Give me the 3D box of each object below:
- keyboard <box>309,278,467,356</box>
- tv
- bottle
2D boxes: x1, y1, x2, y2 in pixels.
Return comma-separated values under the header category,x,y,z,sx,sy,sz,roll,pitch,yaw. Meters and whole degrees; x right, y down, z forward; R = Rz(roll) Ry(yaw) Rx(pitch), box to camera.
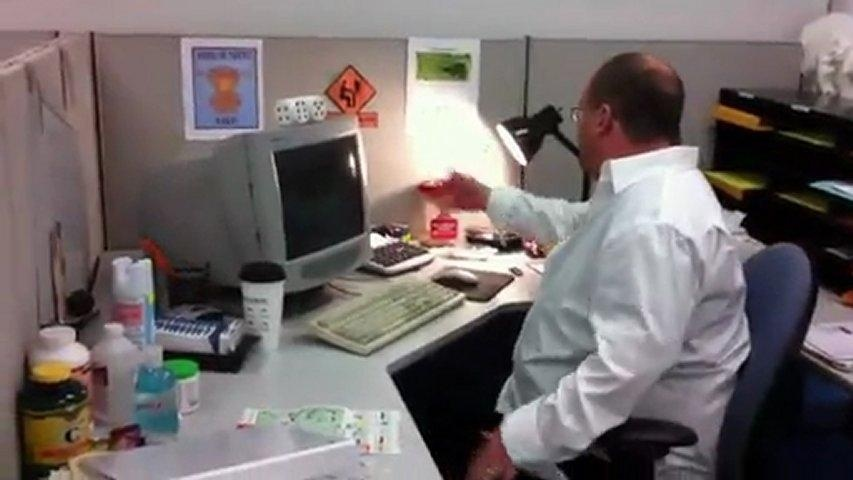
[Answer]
category,x,y,z,sx,sy,sz,roll,pitch,yaw
keyboard,-0.136,0.275,2.264,0.339,0.046,0.564,-15,-19,-19
tv,-0.658,-0.152,2.441,0.731,0.469,0.590,3,14,30
bottle,-0.854,0.405,1.652,0.381,0.316,0.167,-12,22,-29
